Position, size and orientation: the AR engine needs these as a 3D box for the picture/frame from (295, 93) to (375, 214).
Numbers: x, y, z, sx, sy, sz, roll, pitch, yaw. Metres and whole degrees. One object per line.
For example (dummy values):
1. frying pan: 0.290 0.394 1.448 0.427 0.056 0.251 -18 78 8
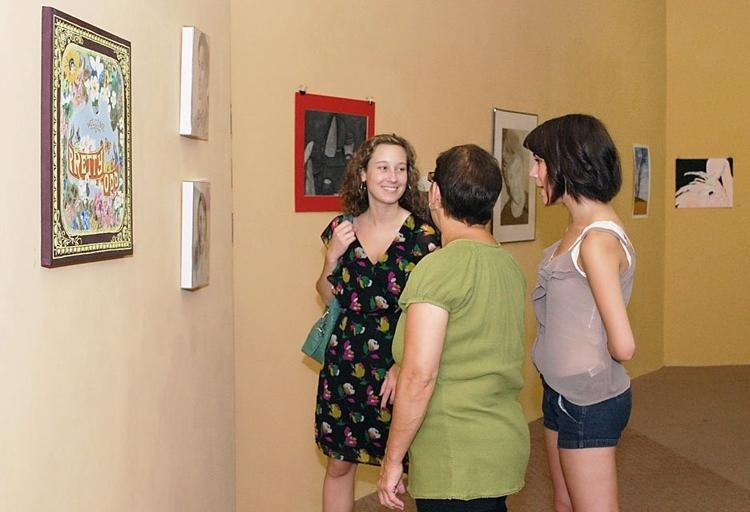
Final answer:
1. picture/frame: -0.292 -0.655 3.962 0.851 1.036 0.066 -2 3 -44
